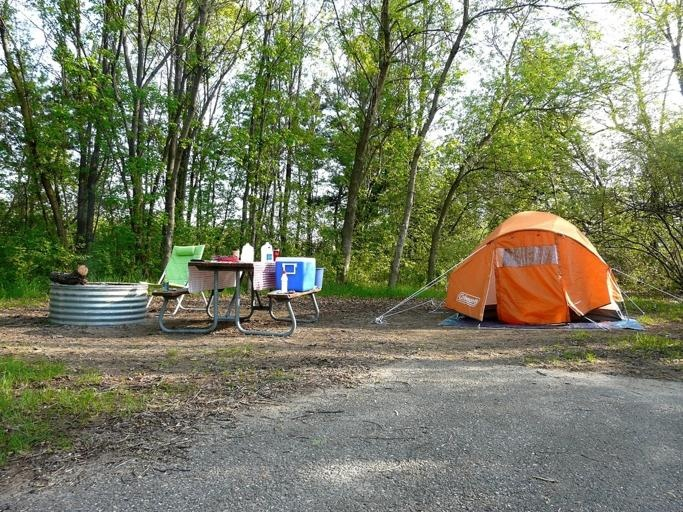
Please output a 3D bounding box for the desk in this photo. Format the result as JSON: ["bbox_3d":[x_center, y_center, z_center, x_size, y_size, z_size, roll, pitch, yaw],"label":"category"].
[{"bbox_3d":[-1.868,0.533,9.272,1.249,0.766,1.651,0,-3,-2],"label":"desk"}]

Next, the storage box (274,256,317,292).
[{"bbox_3d":[-0.766,0.287,9.902,0.533,0.581,0.904,0,5,15],"label":"storage box"}]

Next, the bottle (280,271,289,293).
[{"bbox_3d":[-0.980,0.424,9.283,0.126,0.340,0.263,0,6,-7],"label":"bottle"}]
